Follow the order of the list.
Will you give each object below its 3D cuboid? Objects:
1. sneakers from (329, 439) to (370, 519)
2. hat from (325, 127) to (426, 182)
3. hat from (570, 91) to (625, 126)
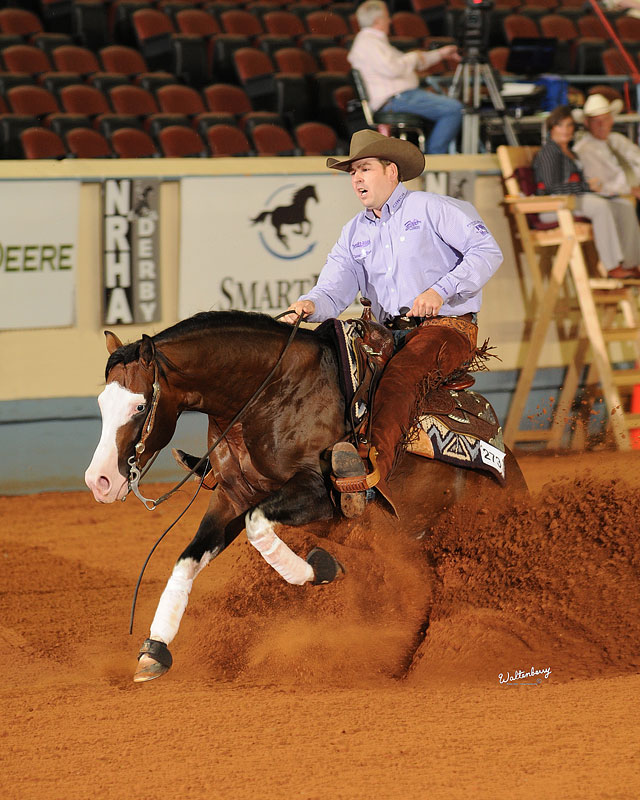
[{"bbox_3d":[0.115,0.302,3.695,0.130,0.270,0.130,-3,-3,7],"label":"sneakers"},{"bbox_3d":[0.234,-1.126,4.491,0.469,0.142,0.381,3,-1,-20],"label":"hat"},{"bbox_3d":[2.288,-2.389,8.221,0.458,0.143,0.419,-8,-12,1],"label":"hat"}]
